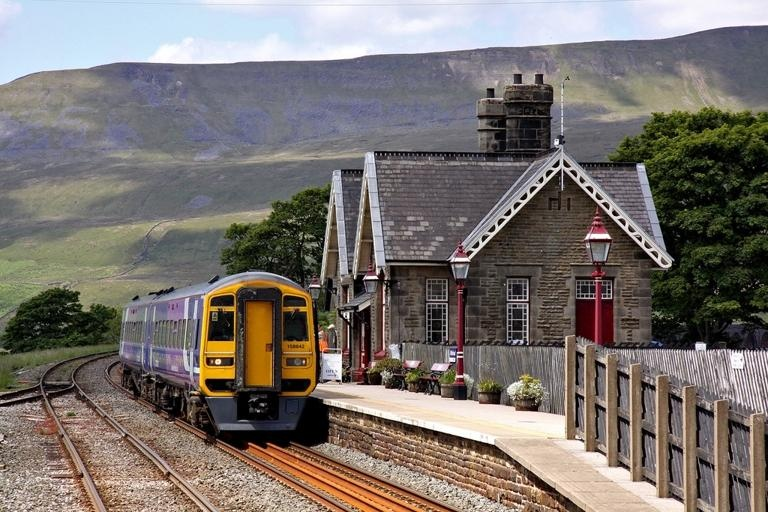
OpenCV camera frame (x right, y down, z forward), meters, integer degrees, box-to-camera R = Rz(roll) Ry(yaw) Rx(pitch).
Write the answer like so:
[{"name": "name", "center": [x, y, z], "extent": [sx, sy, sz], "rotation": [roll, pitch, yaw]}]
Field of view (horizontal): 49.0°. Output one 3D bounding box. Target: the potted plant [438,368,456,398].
[{"name": "potted plant", "center": [2.097, 3.923, 25.545], "extent": [0.705, 0.728, 0.627], "rotation": [-4, -11, 27]}]

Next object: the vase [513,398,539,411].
[{"name": "vase", "center": [3.691, 3.838, 21.580], "extent": [0.404, 0.139, 0.365], "rotation": [2, -3, -36]}]

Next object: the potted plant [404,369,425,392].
[{"name": "potted plant", "center": [0.929, 4.156, 28.000], "extent": [0.724, 0.692, 0.635], "rotation": [2, -3, -40]}]

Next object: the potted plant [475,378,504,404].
[{"name": "potted plant", "center": [2.929, 3.831, 23.669], "extent": [0.619, 0.530, 0.615], "rotation": [-1, -2, 18]}]

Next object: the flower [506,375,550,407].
[{"name": "flower", "center": [3.725, 3.527, 21.792], "extent": [0.811, 0.839, 0.762], "rotation": [1, -2, -39]}]
